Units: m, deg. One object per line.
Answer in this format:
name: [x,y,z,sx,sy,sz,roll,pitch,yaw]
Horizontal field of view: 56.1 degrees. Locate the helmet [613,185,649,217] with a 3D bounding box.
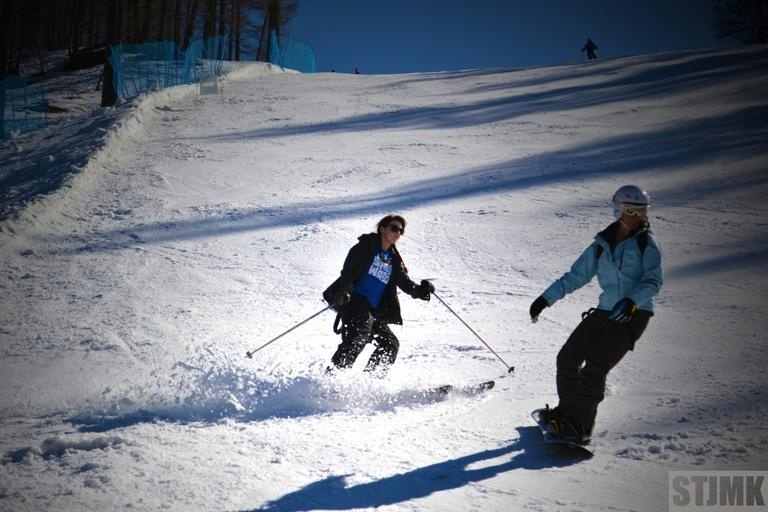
helmet: [3.538,-0.781,10.192,0.423,0.363,0.517,-10,16,-34]

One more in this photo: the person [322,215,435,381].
person: [-0.167,0.584,11.256,1.542,2.418,0.452,-3,9,-10]

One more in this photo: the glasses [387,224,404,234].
glasses: [0.175,-0.425,11.260,0.226,0.149,0.105,0,9,5]

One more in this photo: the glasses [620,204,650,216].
glasses: [3.490,-0.643,10.156,0.237,0.096,0.267,-3,8,-45]

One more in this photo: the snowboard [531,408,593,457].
snowboard: [2.497,2.595,10.368,0.955,0.141,0.505,29,21,29]

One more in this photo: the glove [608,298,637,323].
glove: [3.310,0.761,10.010,0.254,0.399,0.113,46,3,28]

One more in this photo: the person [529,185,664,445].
person: [3.070,0.836,10.288,1.607,3.661,0.702,0,9,8]

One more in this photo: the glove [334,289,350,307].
glove: [-0.670,0.635,11.020,0.237,0.225,0.204,10,-1,38]
